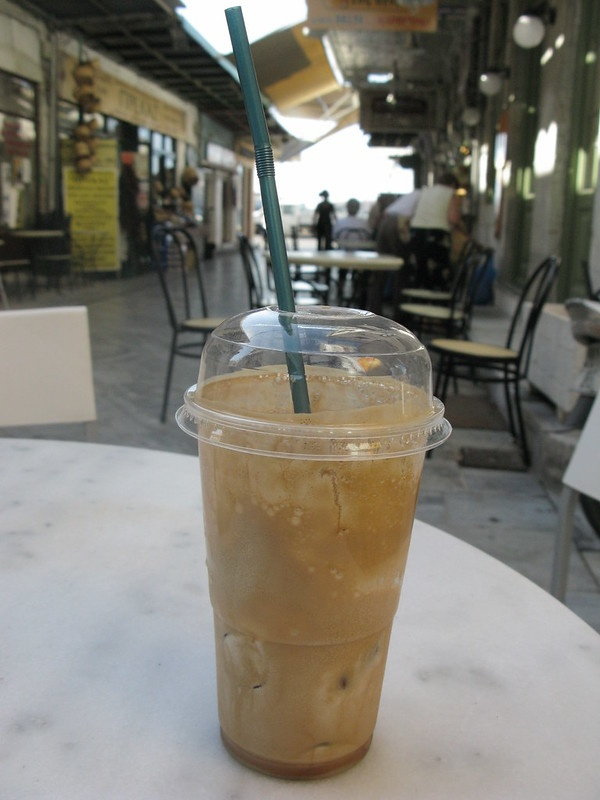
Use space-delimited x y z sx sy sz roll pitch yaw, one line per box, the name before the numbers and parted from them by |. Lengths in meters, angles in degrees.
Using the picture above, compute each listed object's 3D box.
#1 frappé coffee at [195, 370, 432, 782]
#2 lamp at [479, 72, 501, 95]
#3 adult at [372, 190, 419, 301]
frappé coffee | 0.008 0.092 0.518 0.189 0.258 0.179 3 13 -10
lamp | 0.849 -1.395 3.344 0.101 0.102 0.102 6 18 41
adult | 0.483 -0.770 3.727 0.166 0.211 0.685 22 -14 8
